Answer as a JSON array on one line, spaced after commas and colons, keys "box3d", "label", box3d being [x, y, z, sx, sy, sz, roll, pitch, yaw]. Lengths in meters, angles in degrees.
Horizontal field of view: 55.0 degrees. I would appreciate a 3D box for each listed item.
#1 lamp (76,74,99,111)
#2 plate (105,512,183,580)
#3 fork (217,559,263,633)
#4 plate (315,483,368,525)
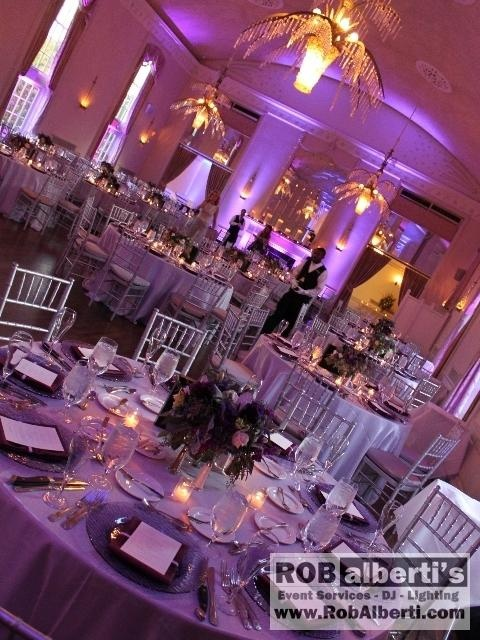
[{"box3d": [-3.936, -5.907, 12.032, 0.175, 0.823, 0.422, 32, 7, -2], "label": "lamp"}, {"box3d": [-0.203, 0.509, 1.032, 0.149, 0.023, 0.144, 31, 7, 6], "label": "plate"}, {"box3d": [-0.005, 0.619, 1.041, 0.046, 0.022, 0.151, 19, 10, -16], "label": "fork"}, {"box3d": [0.434, 0.755, 1.859, 0.231, 0.053, 0.232, 4, 4, 27], "label": "plate"}]
